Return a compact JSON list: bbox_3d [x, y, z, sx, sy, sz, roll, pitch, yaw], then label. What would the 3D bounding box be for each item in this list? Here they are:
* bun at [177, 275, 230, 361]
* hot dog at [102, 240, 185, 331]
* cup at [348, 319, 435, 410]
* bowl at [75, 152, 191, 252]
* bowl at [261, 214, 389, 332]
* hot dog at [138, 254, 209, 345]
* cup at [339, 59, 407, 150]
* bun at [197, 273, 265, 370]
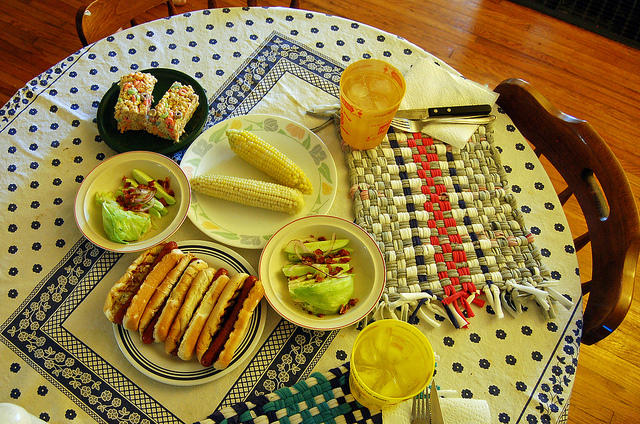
[{"bbox_3d":[-0.346,0.340,1.687,0.099,0.075,0.350,27,68,11],"label":"bun"},{"bbox_3d":[-0.595,0.231,1.782,0.191,0.109,0.364,30,73,10],"label":"hot dog"},{"bbox_3d":[0.224,0.490,1.604,0.259,0.221,0.294,6,72,-7],"label":"cup"},{"bbox_3d":[-0.734,-0.080,1.920,0.399,0.400,0.147,-7,83,-37],"label":"bowl"},{"bbox_3d":[0.012,0.203,1.723,0.432,0.090,0.400,0,77,-1],"label":"bowl"},{"bbox_3d":[-0.487,0.290,1.747,0.143,0.105,0.327,28,70,3],"label":"hot dog"},{"bbox_3d":[0.183,-0.407,1.906,0.232,0.261,0.266,8,58,2],"label":"cup"},{"bbox_3d":[-0.307,0.368,1.659,0.246,0.181,0.344,-5,41,-10],"label":"bun"}]
